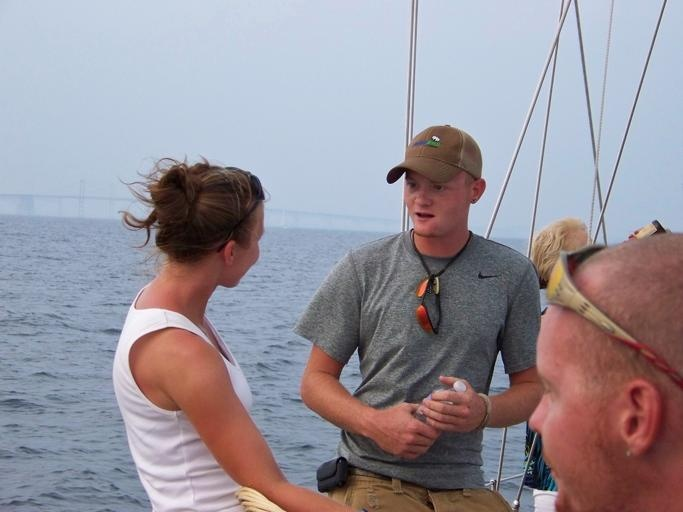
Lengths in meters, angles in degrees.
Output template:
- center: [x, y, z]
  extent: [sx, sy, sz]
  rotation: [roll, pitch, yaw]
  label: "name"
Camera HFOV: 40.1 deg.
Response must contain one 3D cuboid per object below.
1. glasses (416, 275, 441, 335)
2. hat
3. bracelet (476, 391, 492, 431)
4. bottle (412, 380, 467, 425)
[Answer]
- center: [0.731, 0.400, 7.857]
  extent: [0.227, 0.487, 0.110]
  rotation: [6, 7, 4]
  label: "glasses"
- center: [0.778, -0.862, 7.902]
  extent: [0.698, 0.387, 0.479]
  rotation: [1, 2, -36]
  label: "hat"
- center: [1.197, 1.294, 7.740]
  extent: [0.096, 0.232, 0.204]
  rotation: [12, -4, -11]
  label: "bracelet"
- center: [0.795, 1.151, 7.780]
  extent: [0.306, 0.421, 0.139]
  rotation: [34, 14, -44]
  label: "bottle"
